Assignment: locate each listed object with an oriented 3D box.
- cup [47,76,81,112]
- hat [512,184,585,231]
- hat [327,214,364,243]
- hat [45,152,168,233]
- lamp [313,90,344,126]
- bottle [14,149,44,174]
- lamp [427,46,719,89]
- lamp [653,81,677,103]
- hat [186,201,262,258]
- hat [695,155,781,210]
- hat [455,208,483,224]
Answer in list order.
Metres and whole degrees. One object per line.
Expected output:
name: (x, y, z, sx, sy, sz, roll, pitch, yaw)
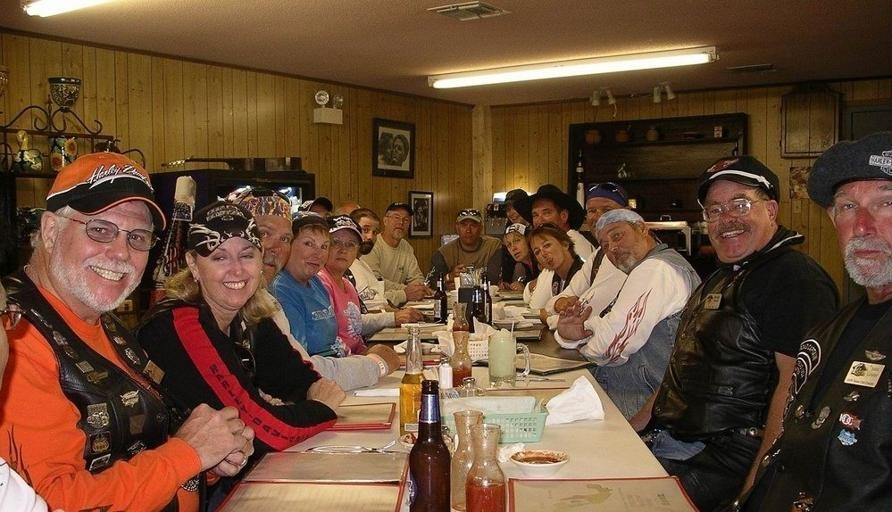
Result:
cup: (-3.921, -1.658, 6.278, 0.362, 0.282, 0.340, -1, 7, 0)
hat: (1.258, -0.628, 6.969, 0.719, 0.253, 0.610, 33, -33, -33)
hat: (-0.671, -0.192, 4.345, 0.238, 0.156, 0.375, 7, -4, -36)
hat: (-1.333, -0.294, 2.440, 0.457, 0.204, 0.352, 6, 6, 26)
lamp: (-1.628, -2.021, 8.340, 0.543, 0.465, 0.170, -2, 7, -42)
bottle: (-4.037, -0.933, 6.028, 0.209, 0.246, 0.268, 11, 5, 24)
lamp: (1.604, -2.452, 7.631, 3.629, 0.256, 0.471, -3, 6, -6)
lamp: (3.170, -2.408, 8.911, 0.152, 0.201, 0.306, -20, 8, 5)
hat: (-1.027, -0.134, 2.825, 0.337, 0.229, 0.434, -6, 2, -34)
hat: (1.471, -0.428, 3.266, 0.365, 0.188, 0.454, -1, -7, 11)
hat: (0.293, -0.536, 8.159, 0.423, 0.187, 0.608, 0, -3, 4)
